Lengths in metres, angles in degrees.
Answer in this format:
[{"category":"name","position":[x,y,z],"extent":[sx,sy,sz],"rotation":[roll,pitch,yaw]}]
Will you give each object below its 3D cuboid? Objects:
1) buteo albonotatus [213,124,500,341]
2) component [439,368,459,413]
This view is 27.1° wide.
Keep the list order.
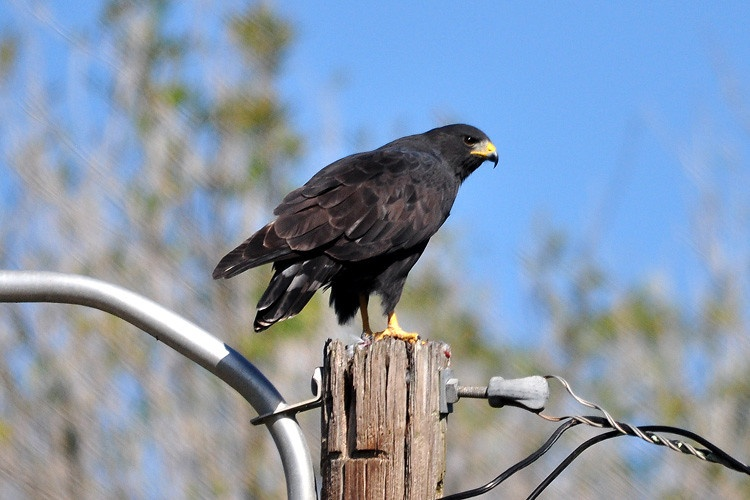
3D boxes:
[{"category":"buteo albonotatus","position":[-0.196,-0.301,17.050],"extent":[3.893,3.357,1.619],"rotation":[3,-5,-21]},{"category":"component","position":[0.723,1.400,15.295],"extent":[0.143,0.522,0.486],"rotation":[5,10,11]}]
